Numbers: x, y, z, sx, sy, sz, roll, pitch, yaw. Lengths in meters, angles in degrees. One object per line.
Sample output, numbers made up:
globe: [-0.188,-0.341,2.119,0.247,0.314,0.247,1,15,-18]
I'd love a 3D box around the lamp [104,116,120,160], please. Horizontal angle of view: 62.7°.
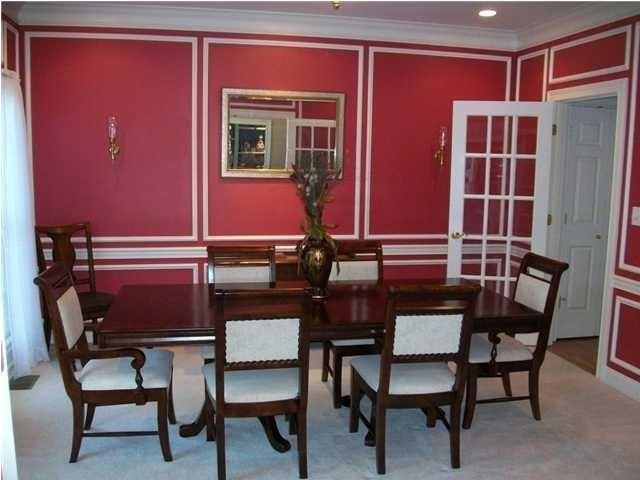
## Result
lamp: [-1.923,-0.929,4.863,0.107,0.402,0.108,-4,14,-21]

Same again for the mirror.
mirror: [-0.422,-1.030,5.035,1.067,0.819,0.047,1,10,-9]

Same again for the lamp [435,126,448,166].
lamp: [1.241,-0.939,5.384,0.139,0.396,0.089,-2,14,-13]

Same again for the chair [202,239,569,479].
chair: [0.834,0.619,4.331,1.047,1.414,1.922,-2,13,-10]
